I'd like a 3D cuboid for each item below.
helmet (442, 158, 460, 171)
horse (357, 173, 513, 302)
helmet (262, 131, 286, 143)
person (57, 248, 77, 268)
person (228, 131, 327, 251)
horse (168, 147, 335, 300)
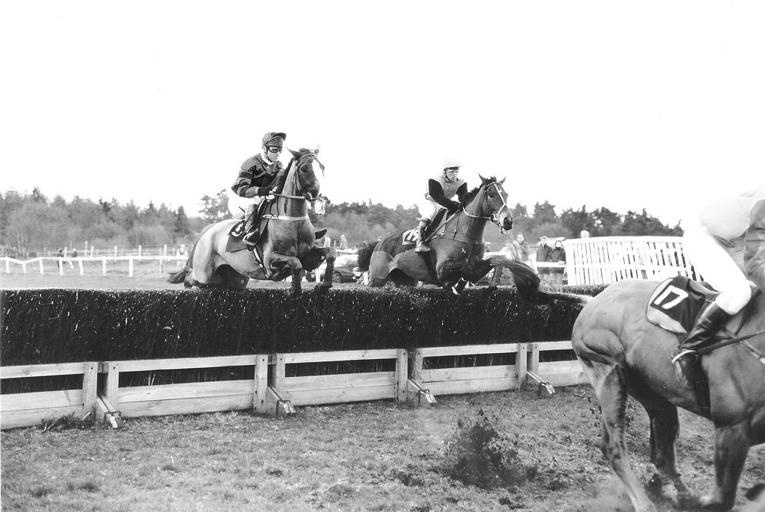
[{"bbox_3d":[0.960,-1.207,10.249,0.196,0.175,0.388,-2,12,-21],"label":"helmet"},{"bbox_3d":[0.599,0.028,10.638,0.839,1.906,2.946,13,-12,-35],"label":"horse"},{"bbox_3d":[-1.226,-1.322,8.686,0.248,0.158,0.484,1,12,-10],"label":"helmet"},{"bbox_3d":[-10.372,0.056,25.242,0.534,0.674,1.050,-1,-2,-43],"label":"person"},{"bbox_3d":[-1.447,-0.798,9.032,0.618,1.338,1.640,1,11,-10],"label":"person"},{"bbox_3d":[-1.719,-0.302,9.455,2.566,1.862,0.752,-3,-4,34],"label":"horse"}]
